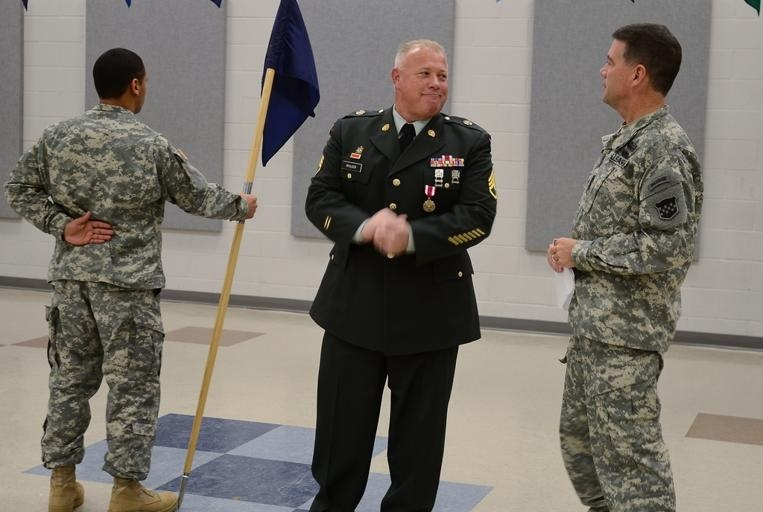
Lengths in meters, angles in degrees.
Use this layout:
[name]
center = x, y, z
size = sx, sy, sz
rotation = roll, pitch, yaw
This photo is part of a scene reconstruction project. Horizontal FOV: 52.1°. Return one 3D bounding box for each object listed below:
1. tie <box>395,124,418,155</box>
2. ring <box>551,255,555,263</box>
[tie]
center = 0.114, -0.542, 3.647
size = 0.082, 0.137, 0.033
rotation = 10, 0, 4
[ring]
center = 0.787, 0.014, 3.567
size = 0.008, 0.026, 0.026
rotation = -7, 0, -4
